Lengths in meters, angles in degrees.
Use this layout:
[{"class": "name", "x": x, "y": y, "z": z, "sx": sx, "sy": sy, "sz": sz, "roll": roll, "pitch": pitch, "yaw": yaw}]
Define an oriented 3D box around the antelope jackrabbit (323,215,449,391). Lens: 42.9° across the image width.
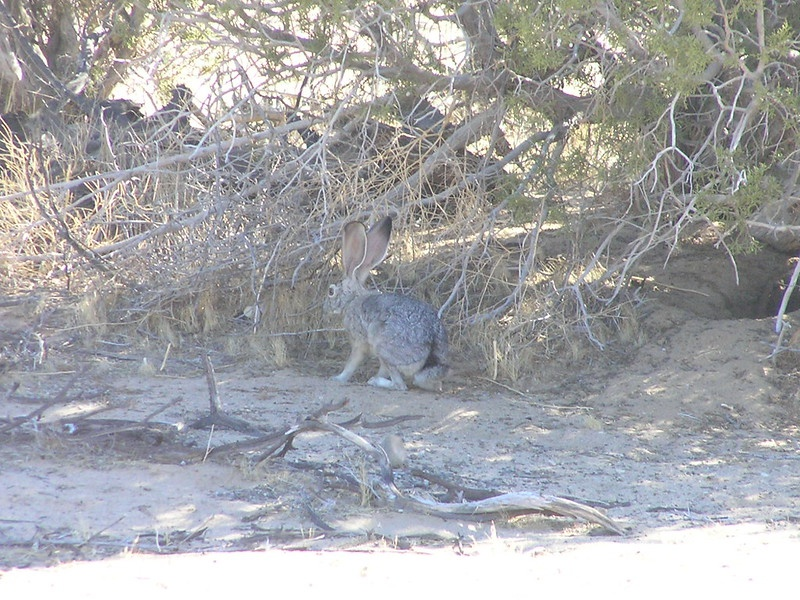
[{"class": "antelope jackrabbit", "x": -0.125, "y": 0.022, "z": 8.236, "sx": 0.990, "sy": 1.383, "sz": 0.576, "roll": 1, "pitch": 6, "yaw": 13}]
